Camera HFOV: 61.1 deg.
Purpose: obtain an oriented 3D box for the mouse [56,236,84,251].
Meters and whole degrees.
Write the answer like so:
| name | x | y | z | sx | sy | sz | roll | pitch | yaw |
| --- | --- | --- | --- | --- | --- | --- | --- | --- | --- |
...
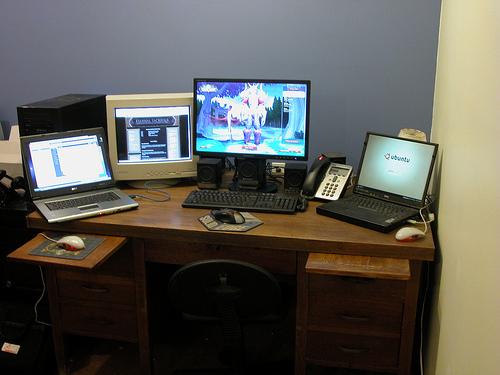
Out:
| name | x | y | z | sx | sy | sz | roll | pitch | yaw |
| --- | --- | --- | --- | --- | --- | --- | --- | --- | --- |
| mouse | -0.846 | 0.264 | 1.994 | 0.104 | 0.037 | 0.067 | 7 | 36 | 8 |

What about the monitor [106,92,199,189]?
| name | x | y | z | sx | sy | sz | roll | pitch | yaw |
| --- | --- | --- | --- | --- | --- | --- | --- | --- | --- |
| monitor | -0.591 | -0.294 | 2.548 | 0.534 | 0.578 | 0.311 | -1 | 9 | -8 |

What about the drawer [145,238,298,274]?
| name | x | y | z | sx | sy | sz | roll | pitch | yaw |
| --- | --- | --- | --- | --- | --- | --- | --- | --- | --- |
| drawer | -0.160 | 0.355 | 2.192 | 0.797 | 0.134 | 0.032 | 4 | 19 | 8 |

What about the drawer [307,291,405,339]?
| name | x | y | z | sx | sy | sz | roll | pitch | yaw |
| --- | --- | --- | --- | --- | --- | --- | --- | --- | --- |
| drawer | 0.494 | 0.610 | 1.965 | 0.321 | 0.145 | 0.258 | 3 | 9 | 10 |

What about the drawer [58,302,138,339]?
| name | x | y | z | sx | sy | sz | roll | pitch | yaw |
| --- | --- | --- | --- | --- | --- | --- | --- | --- | --- |
| drawer | -0.814 | 0.727 | 2.321 | 0.320 | 0.100 | 0.227 | 2 | 3 | 1 |

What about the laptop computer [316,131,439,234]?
| name | x | y | z | sx | sy | sz | roll | pitch | yaw |
| --- | --- | --- | --- | --- | --- | --- | --- | --- | --- |
| laptop computer | 0.701 | -0.043 | 2.276 | 0.578 | 0.415 | 0.508 | -22 | 29 | -38 |

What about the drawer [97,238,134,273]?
| name | x | y | z | sx | sy | sz | roll | pitch | yaw |
| --- | --- | --- | --- | --- | --- | --- | --- | --- | --- |
| drawer | -0.684 | 0.343 | 2.175 | 0.166 | 0.103 | 0.092 | 11 | 31 | 15 |

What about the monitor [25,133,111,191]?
| name | x | y | z | sx | sy | sz | roll | pitch | yaw |
| --- | --- | --- | --- | --- | --- | --- | --- | --- | --- |
| monitor | -1.019 | -0.181 | 2.332 | 0.165 | 0.298 | 0.402 | 14 | 20 | 35 |

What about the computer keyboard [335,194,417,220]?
| name | x | y | z | sx | sy | sz | roll | pitch | yaw |
| --- | --- | --- | --- | --- | --- | --- | --- | --- | --- |
| computer keyboard | 0.685 | 0.091 | 2.256 | 0.427 | 0.175 | 0.028 | 6 | 50 | -31 |

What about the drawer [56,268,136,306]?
| name | x | y | z | sx | sy | sz | roll | pitch | yaw |
| --- | --- | --- | --- | --- | --- | --- | --- | --- | --- |
| drawer | -0.830 | 0.540 | 2.285 | 0.433 | 0.184 | 0.037 | 3 | 18 | 4 |

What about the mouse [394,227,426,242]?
| name | x | y | z | sx | sy | sz | roll | pitch | yaw |
| --- | --- | --- | --- | --- | --- | --- | --- | --- | --- |
| mouse | 0.753 | 0.205 | 1.982 | 0.115 | 0.040 | 0.070 | -7 | 23 | -17 |

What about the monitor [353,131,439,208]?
| name | x | y | z | sx | sy | sz | roll | pitch | yaw |
| --- | --- | --- | --- | --- | --- | --- | --- | --- | --- |
| monitor | 0.789 | -0.085 | 2.274 | 0.383 | 0.320 | 0.038 | 17 | -4 | 36 |

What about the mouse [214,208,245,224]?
| name | x | y | z | sx | sy | sz | roll | pitch | yaw |
| --- | --- | --- | --- | --- | --- | --- | --- | --- | --- |
| mouse | -0.116 | 0.139 | 2.200 | 0.123 | 0.056 | 0.175 | -8 | 22 | -27 |

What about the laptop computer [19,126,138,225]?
| name | x | y | z | sx | sy | sz | roll | pitch | yaw |
| --- | --- | --- | --- | --- | --- | --- | --- | --- | --- |
| laptop computer | -0.915 | -0.085 | 2.252 | 0.481 | 0.349 | 0.509 | -9 | 21 | -32 |

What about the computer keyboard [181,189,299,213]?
| name | x | y | z | sx | sy | sz | roll | pitch | yaw |
| --- | --- | --- | --- | --- | --- | --- | --- | --- | --- |
| computer keyboard | -0.053 | 0.072 | 2.375 | 0.634 | 0.070 | 0.220 | 3 | 19 | 5 |

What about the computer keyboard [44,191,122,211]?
| name | x | y | z | sx | sy | sz | roll | pitch | yaw |
| --- | --- | --- | --- | --- | --- | --- | --- | --- | --- |
| computer keyboard | -0.905 | 0.072 | 2.308 | 0.377 | 0.027 | 0.108 | -9 | 22 | -28 |

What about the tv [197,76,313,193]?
| name | x | y | z | sx | sy | sz | roll | pitch | yaw |
| --- | --- | --- | --- | --- | --- | --- | --- | --- | --- |
| tv | 0.015 | -0.314 | 2.484 | 0.652 | 0.611 | 0.196 | 4 | 15 | 9 |

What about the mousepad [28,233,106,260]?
| name | x | y | z | sx | sy | sz | roll | pitch | yaw |
| --- | --- | --- | --- | --- | --- | --- | --- | --- | --- |
| mousepad | -0.883 | 0.247 | 2.012 | 0.150 | 0.006 | 0.135 | 5 | 19 | 10 |

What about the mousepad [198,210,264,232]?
| name | x | y | z | sx | sy | sz | roll | pitch | yaw |
| --- | --- | --- | --- | --- | --- | --- | --- | --- | --- |
| mousepad | -0.099 | 0.173 | 2.187 | 0.338 | 0.027 | 0.218 | 3 | 19 | 4 |
